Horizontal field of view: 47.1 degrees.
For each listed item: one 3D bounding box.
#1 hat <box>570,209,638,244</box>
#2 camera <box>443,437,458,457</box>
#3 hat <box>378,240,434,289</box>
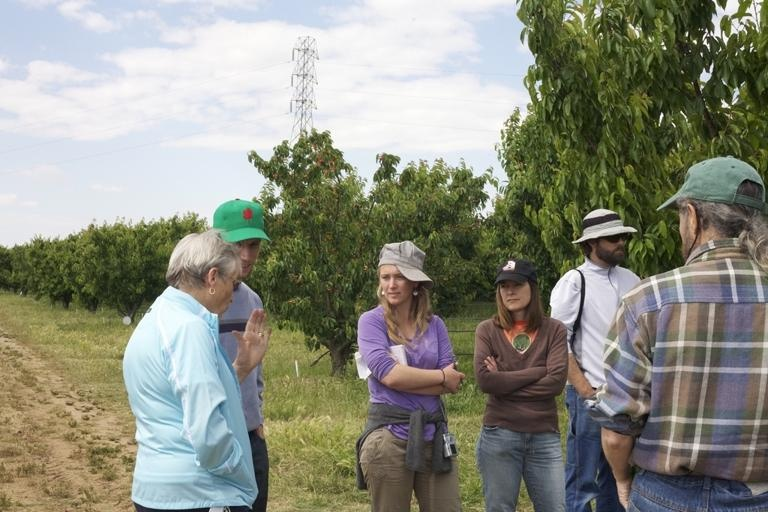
[{"bbox_3d":[2.493,-0.335,9.964,0.447,0.242,0.460,-12,-8,-27],"label":"hat"},{"bbox_3d":[0.680,1.888,8.855,0.084,0.225,0.182,-2,-3,35],"label":"camera"},{"bbox_3d":[0.232,0.093,9.125,0.462,0.310,0.420,10,-2,18],"label":"hat"}]
